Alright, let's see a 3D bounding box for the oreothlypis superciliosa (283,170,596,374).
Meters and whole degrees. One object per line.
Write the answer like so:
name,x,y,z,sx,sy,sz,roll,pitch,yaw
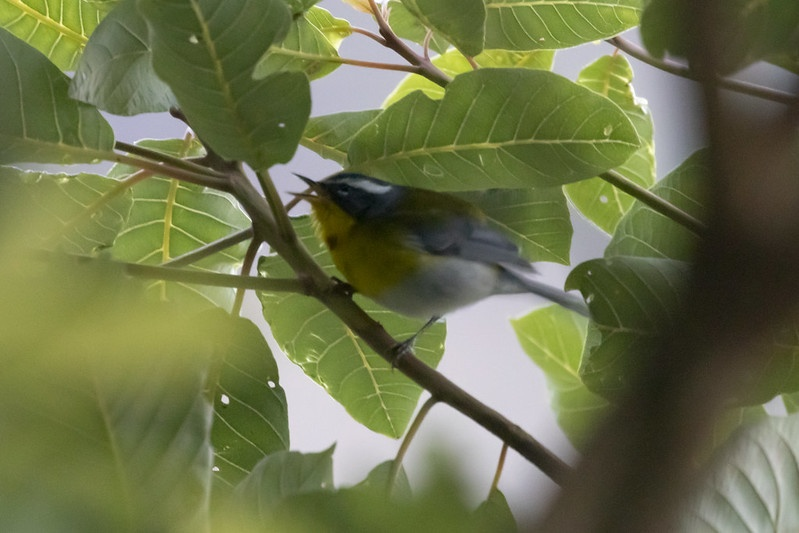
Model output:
oreothlypis superciliosa,0.130,-0.010,2.075,0.704,0.214,0.314,3,-92,-21
